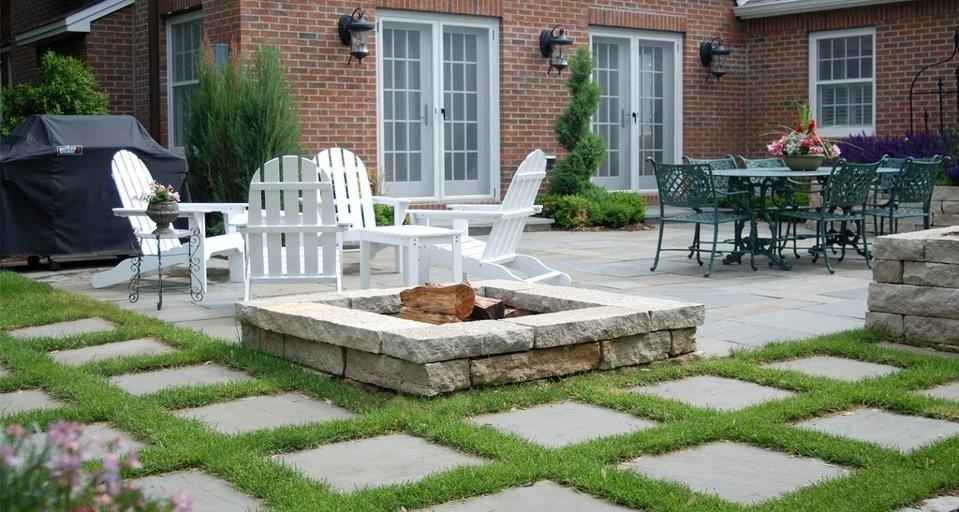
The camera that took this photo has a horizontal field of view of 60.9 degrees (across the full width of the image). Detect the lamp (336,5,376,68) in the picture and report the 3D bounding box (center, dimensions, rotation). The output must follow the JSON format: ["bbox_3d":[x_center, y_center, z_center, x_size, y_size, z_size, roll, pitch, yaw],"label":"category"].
[{"bbox_3d":[-1.978,-3.508,13.026,0.496,0.869,0.379,6,8,45],"label":"lamp"}]

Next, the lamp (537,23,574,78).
[{"bbox_3d":[1.357,-3.768,14.794,0.544,0.885,0.454,0,6,-2],"label":"lamp"}]

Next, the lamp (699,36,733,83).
[{"bbox_3d":[4.891,-4.064,16.741,0.773,0.854,0.393,-5,8,-42],"label":"lamp"}]

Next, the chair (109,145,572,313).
[{"bbox_3d":[-0.715,-0.245,8.790,2.770,1.227,1.689,4,8,30],"label":"chair"}]
